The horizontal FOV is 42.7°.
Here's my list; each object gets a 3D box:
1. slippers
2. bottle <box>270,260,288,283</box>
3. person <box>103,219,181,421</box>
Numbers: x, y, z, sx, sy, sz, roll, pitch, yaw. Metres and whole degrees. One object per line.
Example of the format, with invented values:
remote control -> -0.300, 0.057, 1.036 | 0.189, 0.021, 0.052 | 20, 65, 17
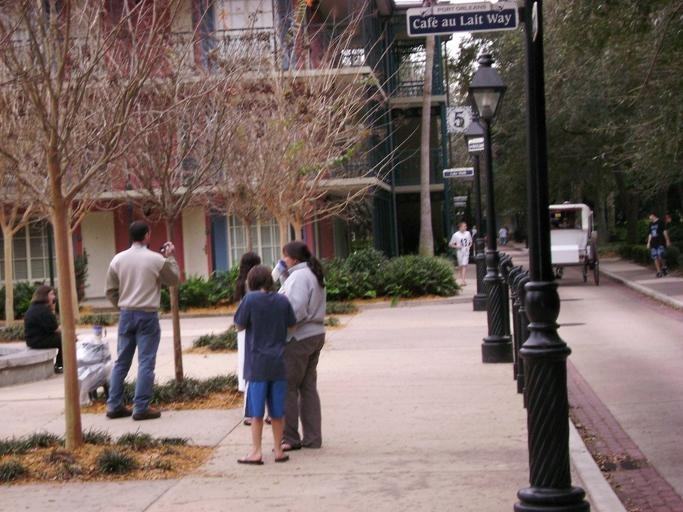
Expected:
slippers -> -0.805, 1.987, 9.726 | 0.749, 0.516, 0.404 | -3, 6, -15
bottle -> -0.888, 0.212, 12.362 | 0.140, 0.384, 0.358 | 12, 4, -2
person -> -2.635, 0.816, 11.378 | 0.950, 2.535, 0.661 | -3, 6, -15
